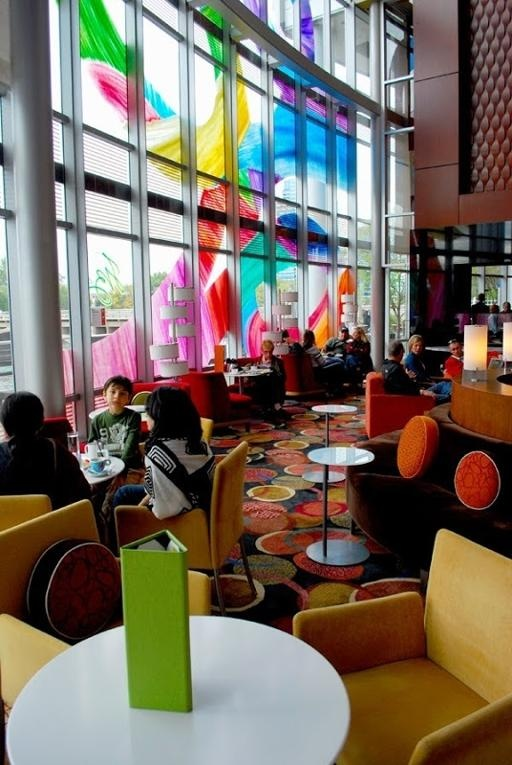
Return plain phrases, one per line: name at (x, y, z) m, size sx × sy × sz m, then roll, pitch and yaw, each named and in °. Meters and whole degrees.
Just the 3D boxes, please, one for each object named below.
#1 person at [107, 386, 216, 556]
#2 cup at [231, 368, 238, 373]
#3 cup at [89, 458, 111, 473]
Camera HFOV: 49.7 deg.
person at (-0.460, 0.441, 2.795) m, size 0.547 × 0.898 × 0.473 m, roll 10°, pitch 22°, yaw 22°
cup at (-0.313, -0.185, 8.101) m, size 0.068 × 0.100 × 0.099 m, roll -5°, pitch 8°, yaw -10°
cup at (-0.866, 0.459, 3.083) m, size 0.104 × 0.072 × 0.070 m, roll -2°, pitch 1°, yaw 1°
